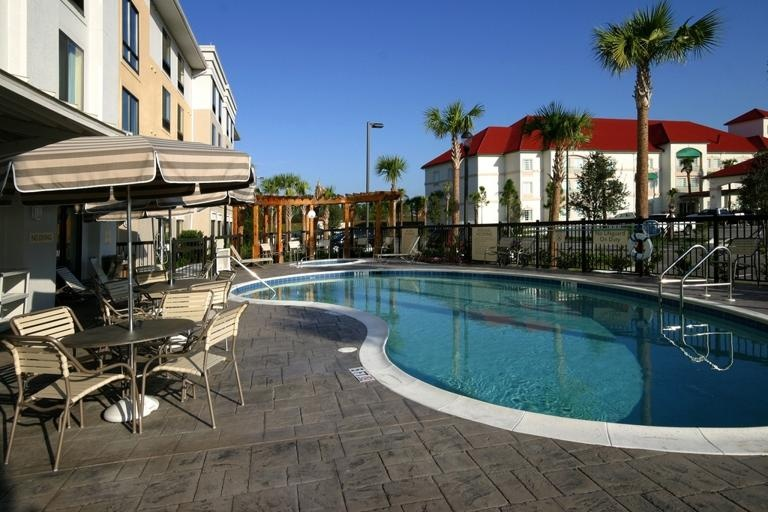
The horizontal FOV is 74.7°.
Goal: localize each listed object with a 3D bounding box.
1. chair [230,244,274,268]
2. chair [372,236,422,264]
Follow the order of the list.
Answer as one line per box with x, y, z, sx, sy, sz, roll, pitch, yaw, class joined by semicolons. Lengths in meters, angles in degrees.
-6.141;0.256;22.930;1.679;0.925;1.535;0;1;-12;chair
0.628;-0.272;26.330;2.277;1.318;1.215;1;-1;1;chair
